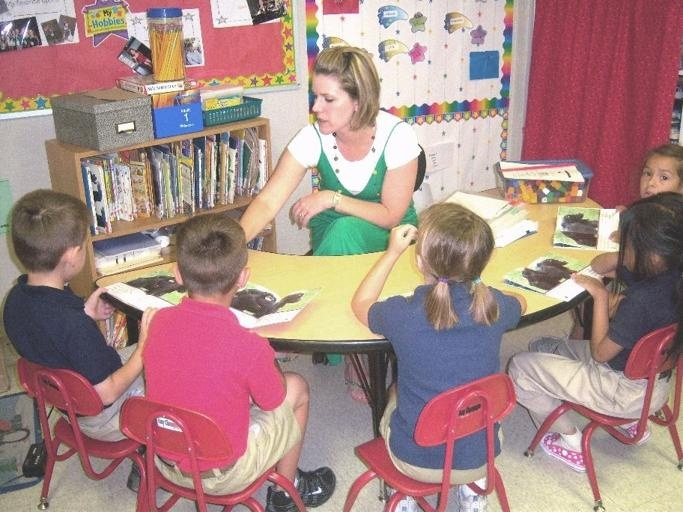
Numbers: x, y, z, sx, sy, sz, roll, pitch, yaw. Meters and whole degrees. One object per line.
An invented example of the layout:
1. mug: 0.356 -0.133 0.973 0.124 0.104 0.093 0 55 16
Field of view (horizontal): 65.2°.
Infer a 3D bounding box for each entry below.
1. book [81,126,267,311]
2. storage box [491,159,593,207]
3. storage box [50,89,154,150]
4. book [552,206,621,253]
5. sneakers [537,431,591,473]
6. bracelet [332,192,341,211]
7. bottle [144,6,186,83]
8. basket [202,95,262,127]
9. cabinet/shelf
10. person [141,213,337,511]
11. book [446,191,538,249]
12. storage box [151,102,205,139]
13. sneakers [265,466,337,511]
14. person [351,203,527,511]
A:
1. book: -0.801 -0.188 2.421 0.801 0.760 0.256 -19 34 -29
2. storage box: 1.041 -0.400 2.776 0.356 0.137 0.272 -3 25 4
3. storage box: -1.203 -0.699 2.716 0.432 0.218 0.355 15 29 29
4. book: 1.105 -0.123 2.412 0.219 0.026 0.328 7 32 22
5. sneakers: 0.954 0.812 2.338 0.083 0.106 0.222 -28 48 -33
6. bracelet: -0.018 -0.267 2.566 0.045 0.066 0.071 15 33 1
7. bottle: -0.873 -1.070 2.706 0.167 0.342 0.099 -7 23 -17
8. basket: -0.591 -0.795 2.966 0.271 0.082 0.174 -23 32 -32
9. cabinet/shelf: -0.814 -0.116 2.261 0.320 0.941 0.965 21 34 40
10. person: -0.340 0.488 1.792 0.403 1.241 0.560 8 23 19
11. book: 0.731 -0.182 2.514 0.337 0.083 0.337 -20 31 -18
12. storage box: -0.808 -0.723 2.838 0.272 0.173 0.152 -5 3 3
13. sneakers: -0.149 0.936 2.186 0.285 0.135 0.136 -22 32 -32
14. person: 0.265 0.249 1.748 0.502 0.833 0.439 17 27 37
